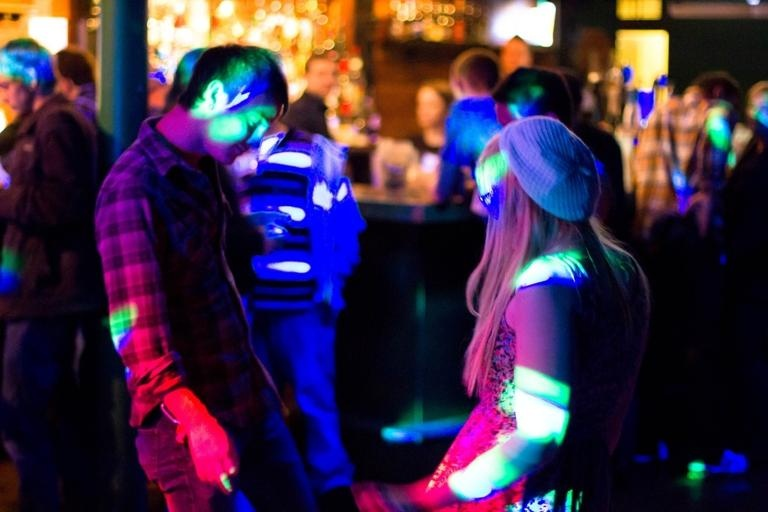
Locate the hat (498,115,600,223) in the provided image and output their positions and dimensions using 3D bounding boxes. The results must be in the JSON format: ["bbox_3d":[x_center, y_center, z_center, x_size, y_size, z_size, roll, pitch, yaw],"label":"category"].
[{"bbox_3d":[0.516,-0.252,2.896,0.251,0.353,0.126,-35,2,-30],"label":"hat"}]
